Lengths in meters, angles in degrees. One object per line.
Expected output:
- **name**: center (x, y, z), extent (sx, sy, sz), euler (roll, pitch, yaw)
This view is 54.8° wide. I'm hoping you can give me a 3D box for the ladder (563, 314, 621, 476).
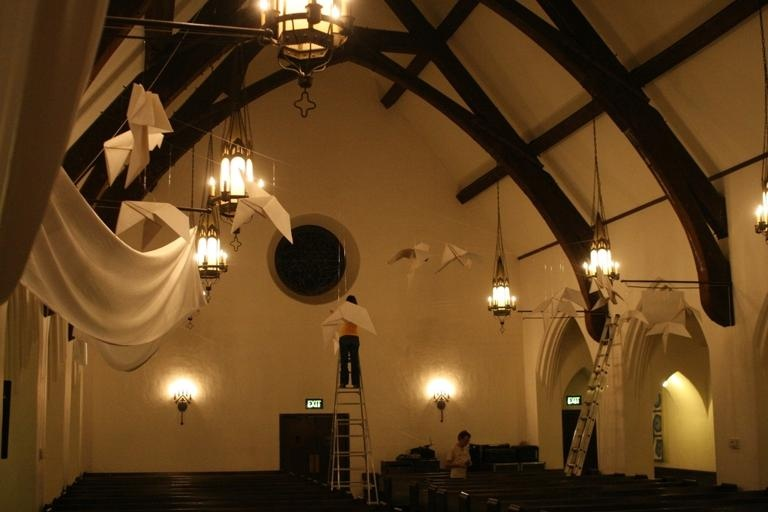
- **ladder**: center (4.108, 2.756, 14.594), extent (1.165, 3.138, 1.069), euler (-2, -20, 13)
